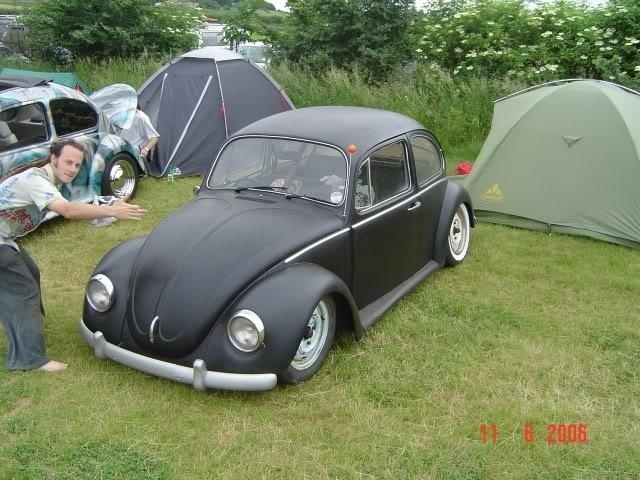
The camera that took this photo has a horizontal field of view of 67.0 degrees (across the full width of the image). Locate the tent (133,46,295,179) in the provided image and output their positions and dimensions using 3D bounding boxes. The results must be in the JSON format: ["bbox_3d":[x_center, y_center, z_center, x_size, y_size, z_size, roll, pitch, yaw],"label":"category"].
[{"bbox_3d":[-2.108,-2.798,10.766,2.688,1.955,3.125,18,26,41],"label":"tent"}]
